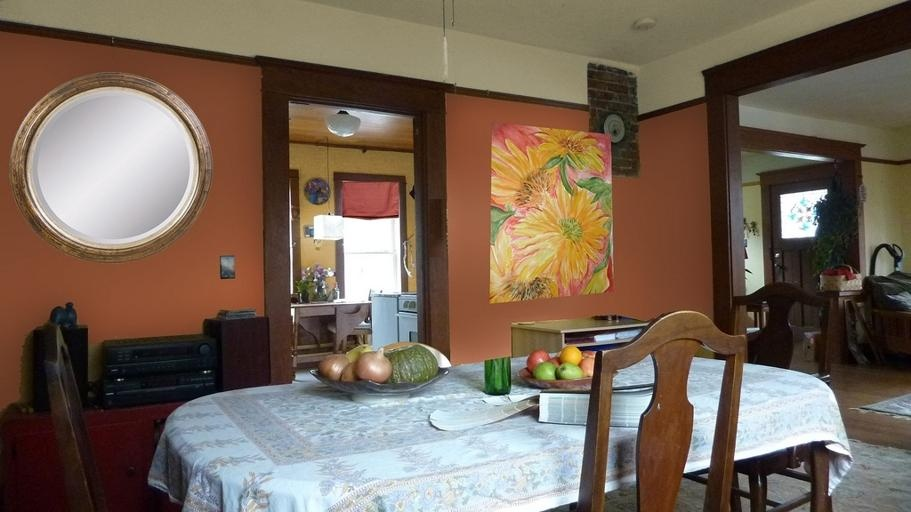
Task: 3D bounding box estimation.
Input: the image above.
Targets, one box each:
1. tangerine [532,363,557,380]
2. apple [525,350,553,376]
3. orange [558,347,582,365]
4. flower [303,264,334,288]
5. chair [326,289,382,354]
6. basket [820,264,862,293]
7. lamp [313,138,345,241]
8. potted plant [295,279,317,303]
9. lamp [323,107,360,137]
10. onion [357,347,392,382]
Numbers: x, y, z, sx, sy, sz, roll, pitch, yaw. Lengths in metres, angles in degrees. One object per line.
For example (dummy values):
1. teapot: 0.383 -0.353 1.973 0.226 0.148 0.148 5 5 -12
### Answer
1. tangerine: 0.563 0.710 3.599 0.112 0.100 0.112 -3 -14 -43
2. apple: 0.506 0.665 3.677 0.150 0.142 0.144 20 2 -8
3. orange: 0.711 0.617 3.596 0.118 0.115 0.124 10 -2 -39
4. flower: -2.153 0.301 9.059 0.399 0.305 0.388 2 4 14
5. chair: -1.403 0.987 8.679 0.907 1.061 0.836 3 -5 -26
6. basket: 5.346 0.300 7.969 0.412 0.327 0.402 -1 1 -41
7. lamp: -2.018 -0.988 8.968 0.431 1.606 1.043 -3 2 -15
8. potted plant: -2.218 0.539 8.575 0.320 0.297 0.310 0 0 -33
9. lamp: -1.452 -1.654 7.324 0.423 0.265 0.407 0 2 6
10. onion: -0.494 0.654 3.478 0.187 0.171 0.179 9 -5 -15
